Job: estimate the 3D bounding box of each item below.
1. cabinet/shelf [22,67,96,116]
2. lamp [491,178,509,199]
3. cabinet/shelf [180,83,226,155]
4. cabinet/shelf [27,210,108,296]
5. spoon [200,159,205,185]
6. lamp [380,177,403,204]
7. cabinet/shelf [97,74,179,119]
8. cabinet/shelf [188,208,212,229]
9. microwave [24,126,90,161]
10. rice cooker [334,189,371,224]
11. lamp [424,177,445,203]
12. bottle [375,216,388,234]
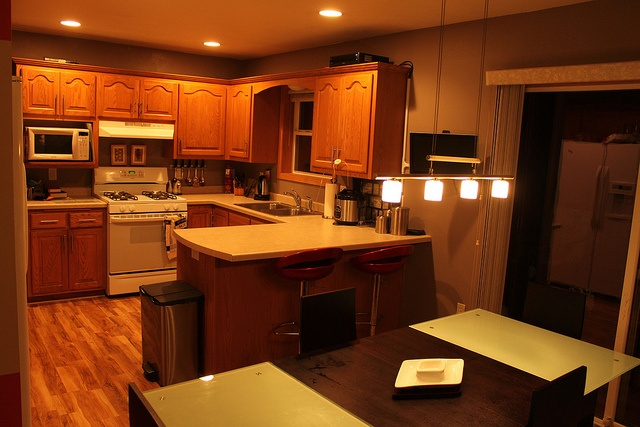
[{"bbox_3d":[-3.130,-1.428,5.586,0.318,0.603,0.845,22,21,36],"label":"cabinet/shelf"},{"bbox_3d":[1.314,-0.183,3.432,0.104,0.133,0.126,3,8,15],"label":"lamp"},{"bbox_3d":[-1.735,-1.322,6.560,0.685,0.997,0.600,-5,20,-35],"label":"cabinet/shelf"},{"bbox_3d":[-2.922,0.418,5.376,0.998,1.164,0.611,-1,3,-33],"label":"cabinet/shelf"},{"bbox_3d":[-1.698,-0.579,6.791,0.032,0.357,0.078,6,10,32],"label":"spoon"},{"bbox_3d":[0.564,-0.179,3.658,0.177,0.190,0.175,-6,14,-36],"label":"lamp"},{"bbox_3d":[-2.393,-1.488,6.036,0.314,0.591,1.063,22,21,37],"label":"cabinet/shelf"},{"bbox_3d":[-1.546,0.049,6.003,0.231,0.410,0.265,-1,9,-18],"label":"cabinet/shelf"},{"bbox_3d":[-3.059,-0.804,5.537,0.644,0.395,0.406,-2,6,-40],"label":"microwave"},{"bbox_3d":[0.274,-0.059,5.099,0.289,0.330,0.362,5,0,43],"label":"rice cooker"},{"bbox_3d":[0.818,-0.178,3.396,0.114,0.158,0.108,4,9,21],"label":"lamp"},{"bbox_3d":[0.613,0.111,4.647,0.142,0.203,0.125,5,12,20],"label":"bottle"}]
